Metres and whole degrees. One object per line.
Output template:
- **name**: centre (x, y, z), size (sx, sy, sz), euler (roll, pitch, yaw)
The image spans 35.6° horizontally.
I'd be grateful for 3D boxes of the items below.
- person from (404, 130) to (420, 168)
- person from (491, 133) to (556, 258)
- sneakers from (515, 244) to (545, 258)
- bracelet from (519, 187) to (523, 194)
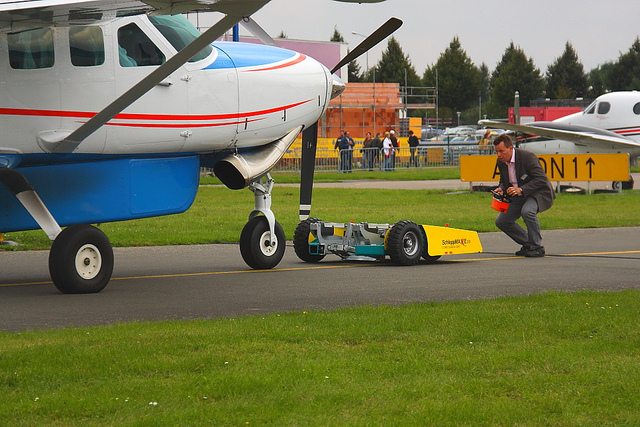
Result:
- **person**: centre (4.628, -3.124, 48.969), size (0.444, 1.597, 1.022), euler (0, 12, 5)
- **person**: centre (3.481, -0.329, 17.210), size (1.007, 2.080, 0.781), euler (5, 14, 26)
- **sneakers**: centre (3.635, 0.641, 17.059), size (0.564, 0.211, 0.181), euler (2, 5, 8)
- **bracelet**: centre (3.464, -0.398, 17.098), size (0.061, 0.073, 0.024), euler (5, -2, 29)
